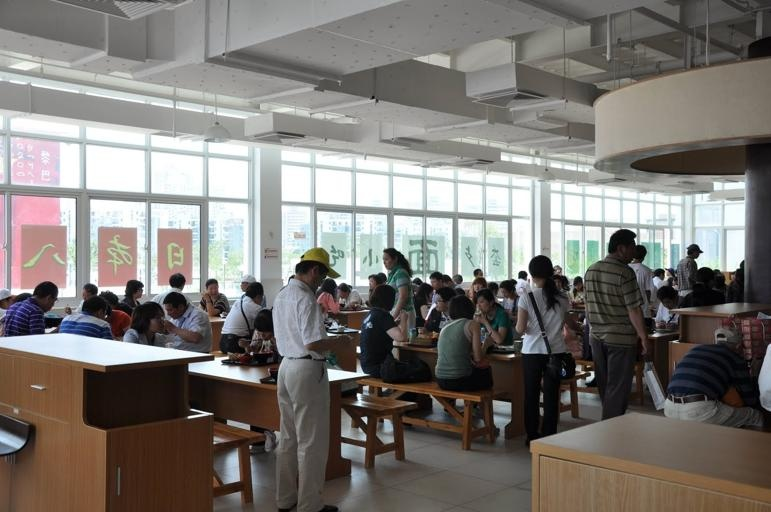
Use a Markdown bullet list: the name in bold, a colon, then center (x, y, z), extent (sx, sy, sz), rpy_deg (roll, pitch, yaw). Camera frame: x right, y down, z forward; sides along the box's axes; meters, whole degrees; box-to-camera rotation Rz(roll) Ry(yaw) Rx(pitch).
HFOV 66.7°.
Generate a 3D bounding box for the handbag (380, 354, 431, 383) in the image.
- **handbag**: center (0.245, 1.313, 6.648), extent (0.440, 0.182, 0.335), rpy_deg (2, -5, -41)

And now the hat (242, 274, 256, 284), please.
- **hat**: center (-2.629, 0.456, 11.294), extent (0.249, 0.131, 0.170), rpy_deg (5, -2, -12)

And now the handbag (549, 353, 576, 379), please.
- **handbag**: center (1.817, 1.149, 6.064), extent (0.177, 0.305, 0.322), rpy_deg (-3, -3, 45)

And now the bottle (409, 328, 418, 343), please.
- **bottle**: center (0.375, 1.062, 7.572), extent (0.112, 0.176, 0.113), rpy_deg (-1, -1, 0)

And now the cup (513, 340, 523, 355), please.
- **cup**: center (1.556, 1.083, 6.887), extent (0.123, 0.105, 0.146), rpy_deg (-1, -5, 22)

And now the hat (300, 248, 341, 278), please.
- **hat**: center (-0.515, 0.058, 4.962), extent (0.358, 0.186, 0.228), rpy_deg (13, -5, -31)

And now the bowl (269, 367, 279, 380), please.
- **bowl**: center (-1.021, 1.090, 5.422), extent (0.124, 0.091, 0.122), rpy_deg (1, -7, 0)
